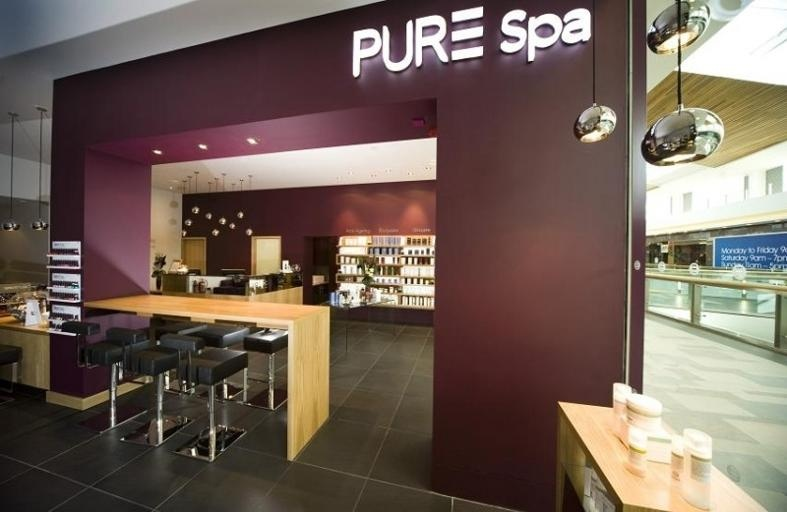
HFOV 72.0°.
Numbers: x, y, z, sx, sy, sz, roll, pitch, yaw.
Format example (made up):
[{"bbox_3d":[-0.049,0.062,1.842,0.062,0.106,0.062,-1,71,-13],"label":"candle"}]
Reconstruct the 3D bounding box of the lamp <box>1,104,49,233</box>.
[{"bbox_3d":[-6.074,-1.222,8.866,0.637,1.567,2.824,0,-1,-32],"label":"lamp"}]

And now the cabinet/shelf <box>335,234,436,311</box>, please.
[{"bbox_3d":[-0.157,0.313,11.298,2.053,1.560,0.388,-1,-1,24],"label":"cabinet/shelf"}]
